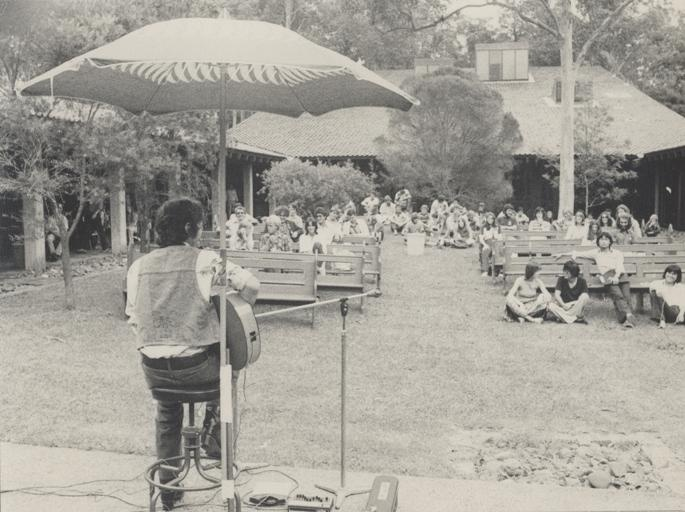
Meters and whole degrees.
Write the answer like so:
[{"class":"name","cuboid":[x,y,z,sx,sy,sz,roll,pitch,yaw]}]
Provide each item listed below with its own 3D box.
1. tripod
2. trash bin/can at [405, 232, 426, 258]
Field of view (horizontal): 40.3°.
[{"class":"tripod","cuboid":[-0.320,1.732,11.727,1.336,3.586,1.328,3,6,2]},{"class":"trash bin/can","cuboid":[1.802,-0.292,23.305,0.447,0.536,0.497,0,-2,0]}]
